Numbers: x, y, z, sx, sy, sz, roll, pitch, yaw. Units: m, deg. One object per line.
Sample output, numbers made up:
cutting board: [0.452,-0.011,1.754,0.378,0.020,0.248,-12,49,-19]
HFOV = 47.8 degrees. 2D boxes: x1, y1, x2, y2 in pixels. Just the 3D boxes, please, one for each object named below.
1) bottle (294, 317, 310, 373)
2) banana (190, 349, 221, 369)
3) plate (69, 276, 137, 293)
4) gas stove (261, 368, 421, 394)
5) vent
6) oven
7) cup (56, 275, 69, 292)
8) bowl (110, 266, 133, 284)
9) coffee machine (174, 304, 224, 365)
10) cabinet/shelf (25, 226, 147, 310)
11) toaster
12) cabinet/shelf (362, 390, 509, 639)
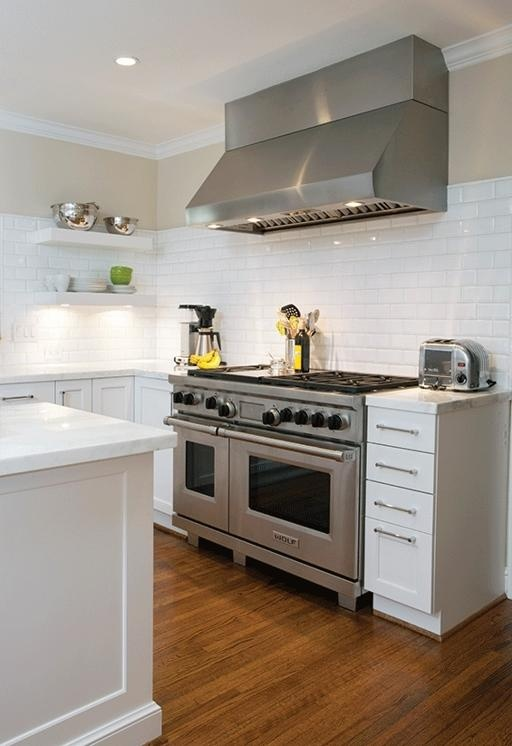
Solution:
bottle: [0.246,-0.150,3.086,0.083,0.286,0.166,0,2,3]
banana: [-0.294,-0.087,3.560,0.116,0.056,0.158,17,25,32]
plate: [-1.101,-0.598,4.014,0.186,0.070,0.289,-3,-6,18]
gas stove: [0.411,0.037,2.702,0.627,0.065,0.715,-1,2,-34]
vent: [0.298,-1.125,2.851,0.564,0.826,1.121,-1,2,-41]
oven: [0.192,0.439,2.797,1.065,0.843,0.693,7,9,41]
cup: [-1.270,-0.587,3.771,0.081,0.111,0.062,0,2,-28]
bowl: [-0.973,-0.695,4.157,0.134,0.106,0.142,0,1,0]
coffee machine: [-0.363,-0.250,3.745,0.402,0.510,0.311,1,1,41]
cabinet/shelf: [-1.102,-0.717,4.047,0.302,0.520,0.863,2,2,43]
toaster: [0.857,-0.035,2.469,0.208,0.237,0.303,0,1,-34]
cabinet/shelf: [0.772,0.524,2.274,0.643,0.893,0.329,0,2,-23]
